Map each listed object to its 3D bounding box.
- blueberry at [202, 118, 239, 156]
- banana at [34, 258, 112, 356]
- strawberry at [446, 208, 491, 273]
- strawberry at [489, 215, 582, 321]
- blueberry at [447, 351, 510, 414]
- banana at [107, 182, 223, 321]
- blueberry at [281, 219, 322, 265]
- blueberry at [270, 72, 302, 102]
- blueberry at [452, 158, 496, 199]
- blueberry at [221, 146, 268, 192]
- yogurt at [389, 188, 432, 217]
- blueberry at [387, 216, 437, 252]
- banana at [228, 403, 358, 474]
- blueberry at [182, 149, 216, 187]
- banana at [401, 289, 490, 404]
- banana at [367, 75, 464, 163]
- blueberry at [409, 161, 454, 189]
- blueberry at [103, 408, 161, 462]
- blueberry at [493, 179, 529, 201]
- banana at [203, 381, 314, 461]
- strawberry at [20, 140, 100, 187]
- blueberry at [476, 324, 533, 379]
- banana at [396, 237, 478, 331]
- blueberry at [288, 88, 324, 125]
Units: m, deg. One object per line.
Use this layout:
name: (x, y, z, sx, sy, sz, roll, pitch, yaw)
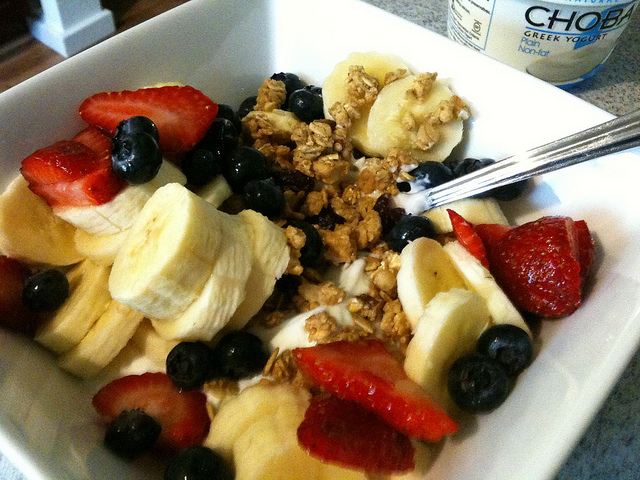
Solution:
blueberry: (-0.280, -0.284, 1.649, 0.121, 0.098, 0.093, 12, 22, 31)
banana: (-0.580, 0.176, 1.459, 0.058, 0.211, 0.223, 23, 36, -23)
strawberry: (0.355, 0.000, 1.509, 0.055, 0.063, 0.194, -33, 78, 2)
strawberry: (0.501, 0.064, 1.392, 0.181, 0.153, 0.235, 3, 70, 1)
blueberry: (0.344, 0.314, 1.307, 0.119, 0.088, 0.124, 12, 71, 4)
banana: (-0.327, -0.026, 1.372, 0.074, 0.223, 0.205, -18, 75, -43)
blueberry: (-0.038, 0.016, 1.576, 0.101, 0.107, 0.128, 4, 79, -2)
blueberry: (-0.100, -0.456, 1.850, 0.079, 0.098, 0.087, 12, 43, 16)
blueberry: (0.399, -0.169, 1.587, 0.086, 0.042, 0.109, -2, 77, 50)
blueberry: (-0.198, -0.194, 1.618, 0.114, 0.117, 0.141, 3, 90, 28)
yogurt: (0.244, -0.104, 1.643, 0.092, 0.057, 0.071, 19, 26, 6)
blueberry: (0.233, -0.020, 1.572, 0.108, 0.062, 0.083, -32, 39, 3)
banana: (-0.069, 0.450, 1.320, 0.249, 0.085, 0.163, -10, 71, -4)
blueberry: (-0.312, -0.202, 1.569, 0.090, 0.093, 0.108, 2, 98, -8)
banana: (0.277, 0.223, 1.352, 0.057, 0.244, 0.227, 21, 41, 41)
banana: (0.264, -0.330, 1.637, 0.230, 0.058, 0.238, -5, 92, 5)
blueberry: (0.303, -0.177, 1.613, 0.082, 0.070, 0.050, 9, 104, 41)
blueberry: (-0.423, 0.435, 1.347, 0.098, 0.071, 0.100, 30, 73, 10)
blueberry: (0.497, -0.125, 1.548, 0.058, 0.044, 0.058, -24, 40, 22)
banana: (-0.160, 0.397, 1.393, 0.171, 0.059, 0.176, 16, 51, 40)
strawberry: (-0.609, -0.177, 1.414, 0.136, 0.050, 0.109, -9, 39, 6)
blueberry: (0.401, 0.250, 1.351, 0.103, 0.114, 0.130, 1, 85, 5)
banana: (0.267, 0.102, 1.447, 0.205, 0.056, 0.200, 34, 59, -23)
blueberry: (-0.041, -0.388, 1.749, 0.098, 0.062, 0.096, -13, 71, -4)
